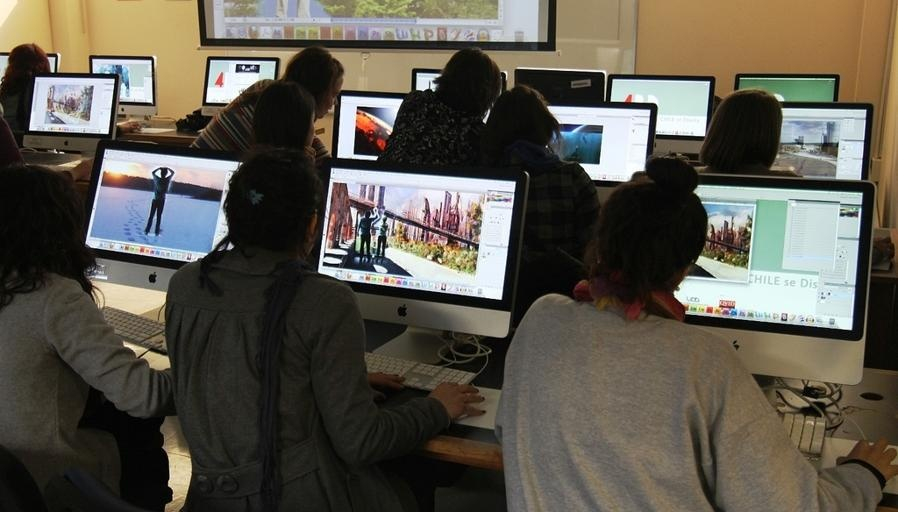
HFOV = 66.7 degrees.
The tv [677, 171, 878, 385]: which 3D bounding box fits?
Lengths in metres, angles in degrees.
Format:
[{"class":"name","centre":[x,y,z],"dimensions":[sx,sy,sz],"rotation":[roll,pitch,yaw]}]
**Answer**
[{"class":"tv","centre":[1.065,0.068,2.225],"dimensions":[0.765,0.604,0.280],"rotation":[4,6,18]}]

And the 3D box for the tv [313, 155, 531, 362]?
[{"class":"tv","centre":[-0.109,0.011,2.450],"dimensions":[0.801,0.500,0.202],"rotation":[6,10,12]}]

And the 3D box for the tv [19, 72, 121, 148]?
[{"class":"tv","centre":[-2.513,-0.959,4.532],"dimensions":[0.686,0.505,0.113],"rotation":[6,9,15]}]

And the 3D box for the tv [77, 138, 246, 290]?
[{"class":"tv","centre":[-1.088,-0.147,2.593],"dimensions":[0.576,0.434,0.176],"rotation":[10,20,7]}]

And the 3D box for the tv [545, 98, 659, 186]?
[{"class":"tv","centre":[0.710,-0.529,3.183],"dimensions":[0.563,0.337,0.157],"rotation":[6,28,18]}]
